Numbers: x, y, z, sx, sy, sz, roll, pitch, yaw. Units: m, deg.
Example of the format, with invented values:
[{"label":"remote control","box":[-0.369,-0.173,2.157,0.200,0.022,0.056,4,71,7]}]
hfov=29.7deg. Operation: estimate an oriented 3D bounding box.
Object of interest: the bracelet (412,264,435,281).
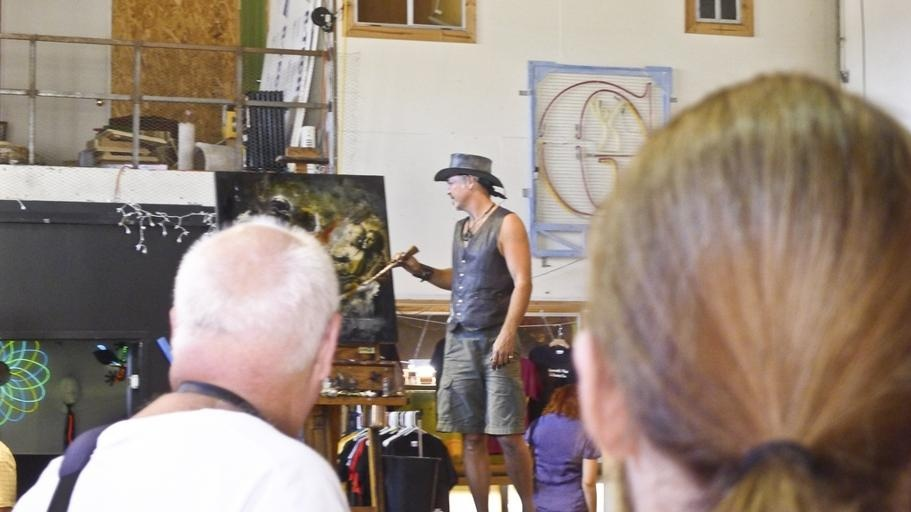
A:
[{"label":"bracelet","box":[-0.340,0.178,17.604,0.193,0.116,0.178,1,-2,-19]}]

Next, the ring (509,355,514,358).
[{"label":"ring","box":[0.542,0.999,16.963,0.025,0.035,0.068,-5,-6,27]}]

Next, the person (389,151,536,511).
[{"label":"person","box":[0.272,0.751,17.096,0.974,3.566,0.327,-3,-5,7]}]
